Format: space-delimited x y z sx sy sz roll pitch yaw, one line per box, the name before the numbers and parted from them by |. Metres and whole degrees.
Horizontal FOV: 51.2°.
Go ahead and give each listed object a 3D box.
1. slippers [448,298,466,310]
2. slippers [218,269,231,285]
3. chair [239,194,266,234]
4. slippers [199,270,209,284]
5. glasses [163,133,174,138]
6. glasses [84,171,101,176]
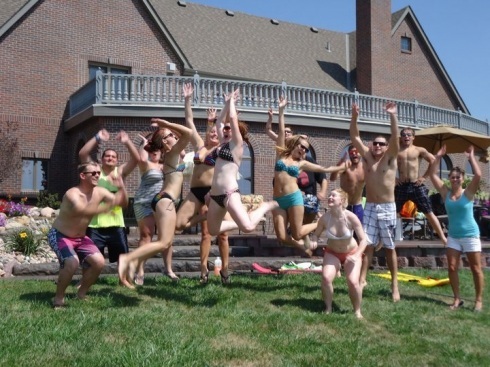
slippers | 4.224 2.400 10.222 0.454 0.212 0.157 1 -20 -27
slippers | -0.416 2.032 10.855 0.142 0.395 0.091 -5 -29 -22
chair | 0.250 1.028 18.654 1.091 1.737 1.284 1 -2 -11
slippers | -0.861 1.992 10.873 0.199 0.154 0.585 -2 -5 -2
glasses | -1.426 -0.893 9.524 0.111 0.036 0.117 -31 2 14
glasses | -2.599 -0.179 8.672 0.258 0.086 0.093 5 -8 -37
